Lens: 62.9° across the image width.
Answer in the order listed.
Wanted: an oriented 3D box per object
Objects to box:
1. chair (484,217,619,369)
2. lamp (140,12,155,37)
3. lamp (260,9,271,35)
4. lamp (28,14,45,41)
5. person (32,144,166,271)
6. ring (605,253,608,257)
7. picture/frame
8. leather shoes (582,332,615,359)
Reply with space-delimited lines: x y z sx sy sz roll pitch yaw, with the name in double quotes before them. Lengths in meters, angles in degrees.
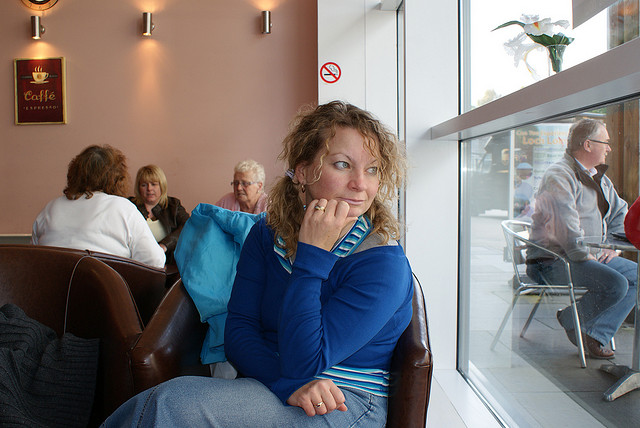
"chair" 1.224 0.321 2.790 0.528 0.747 0.481 -8 -11 36
"lamp" -1.861 -2.024 5.579 0.144 0.234 0.113 2 5 10
"lamp" -0.563 -2.019 5.512 0.102 0.234 0.103 1 5 -7
"lamp" -3.067 -2.013 5.662 0.154 0.245 0.117 1 5 -6
"person" -1.424 -0.007 3.328 0.784 0.809 0.511 2 -3 5
"ring" 1.232 0.174 2.249 0.011 0.011 0.012 -16 13 4
"picture/frame" -3.079 -1.380 5.731 0.695 0.911 0.066 -1 4 4
"leather shoes" 1.206 0.582 2.283 0.049 0.099 0.129 -11 2 -35
